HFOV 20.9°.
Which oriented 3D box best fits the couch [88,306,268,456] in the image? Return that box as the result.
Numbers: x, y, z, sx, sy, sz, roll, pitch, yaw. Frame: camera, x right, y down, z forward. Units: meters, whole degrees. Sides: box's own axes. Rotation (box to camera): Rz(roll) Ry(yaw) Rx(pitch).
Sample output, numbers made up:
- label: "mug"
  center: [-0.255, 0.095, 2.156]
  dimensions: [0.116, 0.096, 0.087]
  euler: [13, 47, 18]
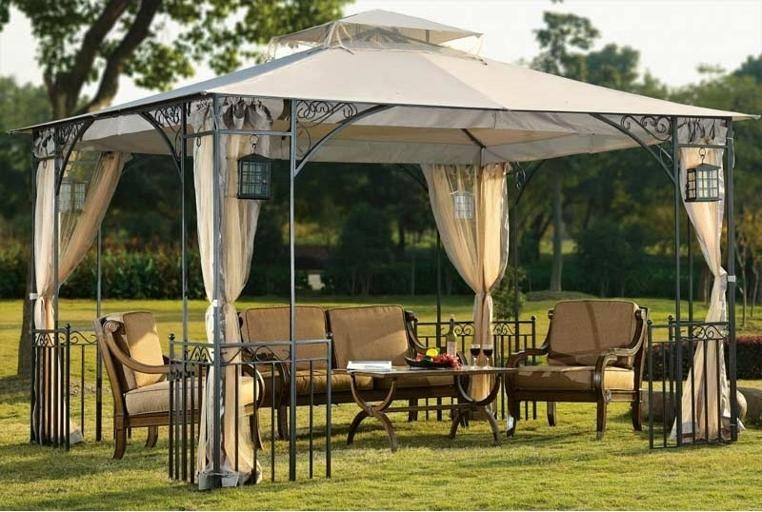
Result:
- label: "couch"
  center: [-3.796, 2.354, 38.058]
  dimensions: [2.705, 2.596, 2.063]
  euler: [1, 1, 16]

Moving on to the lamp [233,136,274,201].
- label: "lamp"
  center: [-2.300, -1.347, 36.789]
  dimensions: [0.561, 0.803, 0.237]
  euler: [0, -7, -18]

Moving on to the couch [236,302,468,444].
- label: "couch"
  center: [-0.687, 2.173, 38.595]
  dimensions: [3.785, 2.508, 2.074]
  euler: [-2, -1, -28]

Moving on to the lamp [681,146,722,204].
- label: "lamp"
  center: [5.936, -1.402, 38.213]
  dimensions: [0.587, 0.954, 0.657]
  euler: [-1, 0, 6]
